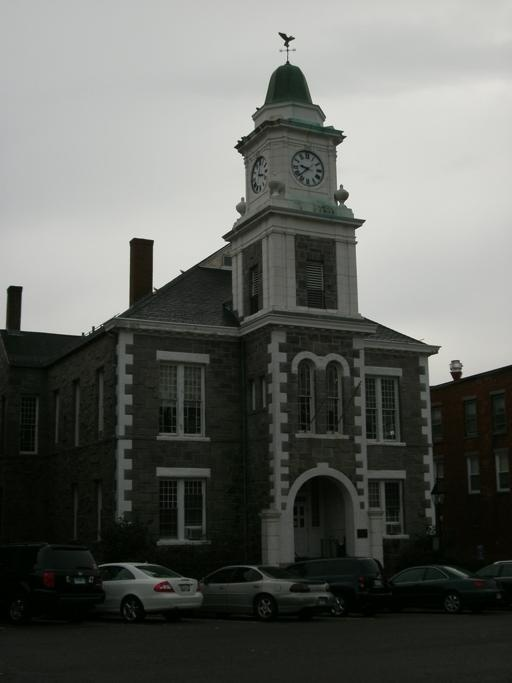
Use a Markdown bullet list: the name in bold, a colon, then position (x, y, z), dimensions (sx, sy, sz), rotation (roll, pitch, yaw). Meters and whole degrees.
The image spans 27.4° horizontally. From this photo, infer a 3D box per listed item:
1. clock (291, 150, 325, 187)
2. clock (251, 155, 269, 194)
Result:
- **clock**: position (1.770, -5.873, 35.656), dimensions (1.553, 1.396, 0.155), rotation (0, -15, -41)
- **clock**: position (0.215, -5.744, 36.083), dimensions (0.156, 1.318, 1.401), rotation (11, -21, -26)
